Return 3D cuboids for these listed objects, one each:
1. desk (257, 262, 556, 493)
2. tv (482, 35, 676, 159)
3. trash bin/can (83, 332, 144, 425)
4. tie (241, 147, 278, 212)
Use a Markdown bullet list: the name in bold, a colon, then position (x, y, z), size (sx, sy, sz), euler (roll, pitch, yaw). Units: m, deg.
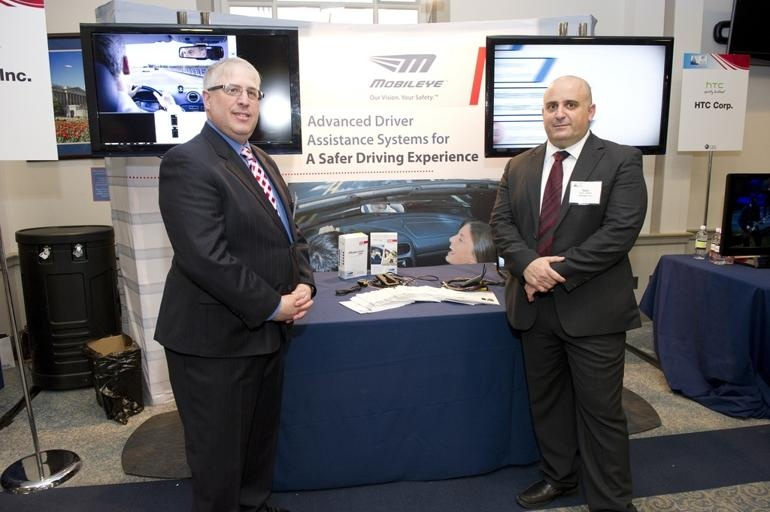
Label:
- **desk**: position (0.130, 0.801, 3.150), size (1.383, 0.751, 1.068), euler (-2, 8, -8)
- **tv**: position (1.241, -1.069, 3.587), size (0.988, 0.663, 0.099), euler (0, 1, -4)
- **trash bin/can**: position (-1.915, 0.879, 3.956), size (0.323, 0.516, 0.432), euler (-13, 16, -38)
- **tie**: position (-0.645, -0.443, 2.836), size (0.092, 0.083, 0.569), euler (17, 35, -34)
